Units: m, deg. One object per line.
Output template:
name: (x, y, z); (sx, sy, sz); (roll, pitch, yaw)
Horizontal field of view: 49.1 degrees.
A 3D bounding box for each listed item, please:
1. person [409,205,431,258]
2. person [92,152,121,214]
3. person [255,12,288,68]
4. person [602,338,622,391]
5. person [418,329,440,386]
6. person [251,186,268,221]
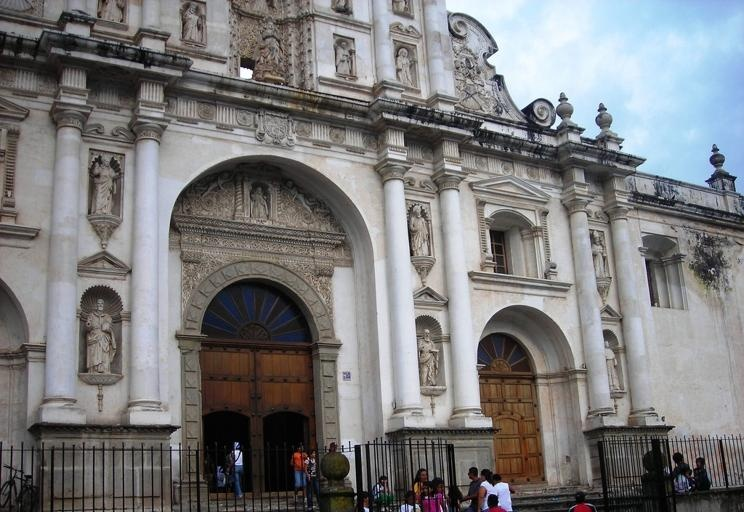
person: (1.468, -0.761, 24.765); (0.735, 1.682, 0.203); (6, -20, -26)
person: (-6.945, -1.826, 21.208); (0.783, 1.681, 0.208); (3, -19, -19)
person: (-3.095, -6.527, 25.023); (0.967, 1.793, 0.228); (3, -19, -18)
person: (7.953, 3.628, 26.990); (0.246, 1.817, 0.653); (-19, -24, 40)
person: (1.687, 3.039, 23.957); (0.286, 1.628, 0.686); (-19, -24, 40)
person: (-3.257, -1.549, 23.724); (0.548, 1.066, 0.175); (2, -19, -17)
